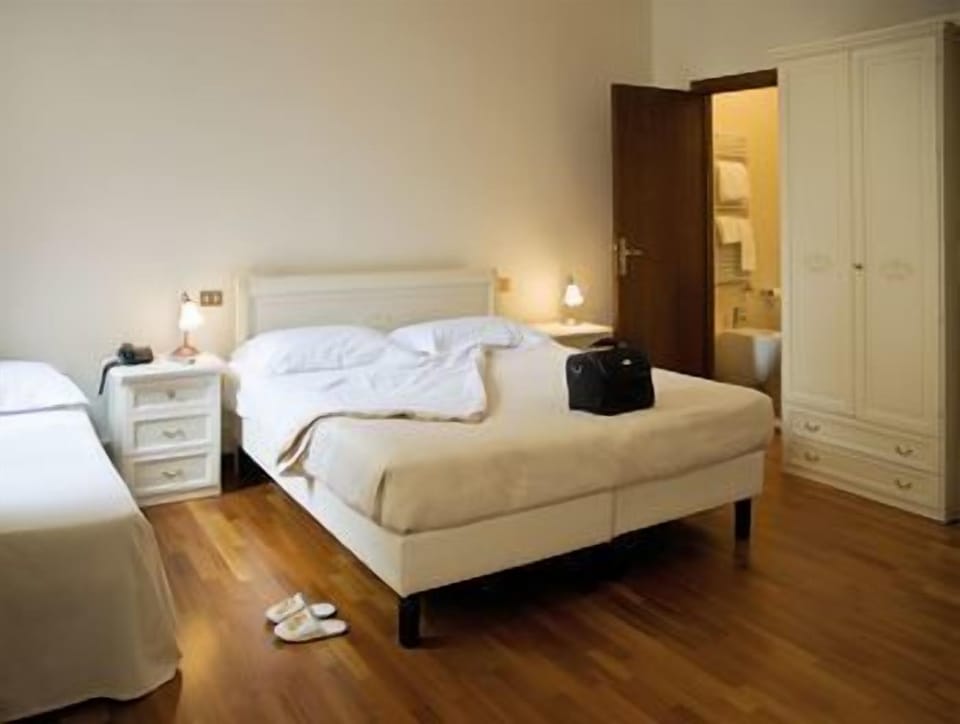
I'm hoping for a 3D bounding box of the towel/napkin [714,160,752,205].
[{"bbox_3d":[2.152,-1.554,6.128,0.388,0.299,0.155,-10,17,-31],"label":"towel/napkin"}]

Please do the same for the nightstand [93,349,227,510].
[{"bbox_3d":[-1.804,0.360,4.355,0.857,1.119,0.725,-3,3,-30],"label":"nightstand"}]

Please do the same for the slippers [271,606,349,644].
[{"bbox_3d":[-0.691,1.044,2.867,0.246,0.095,0.123,1,9,-17],"label":"slippers"}]

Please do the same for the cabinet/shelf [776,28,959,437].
[{"bbox_3d":[2.130,-0.714,3.968,0.288,2.081,1.114,-10,18,-33],"label":"cabinet/shelf"}]

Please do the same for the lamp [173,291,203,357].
[{"bbox_3d":[-1.756,-0.228,4.287,0.190,0.344,0.351,-7,16,-21],"label":"lamp"}]

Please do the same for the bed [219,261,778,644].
[{"bbox_3d":[-0.090,0.211,4.323,2.242,1.409,2.915,-5,10,-28],"label":"bed"}]

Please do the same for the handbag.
[{"bbox_3d":[0.622,0.078,3.430,0.390,0.371,0.328,-2,-1,-37],"label":"handbag"}]

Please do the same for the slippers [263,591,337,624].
[{"bbox_3d":[-0.755,1.008,2.981,0.304,0.115,0.117,3,10,-19],"label":"slippers"}]

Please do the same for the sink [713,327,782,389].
[{"bbox_3d":[2.305,-0.037,6.108,0.475,0.505,0.560,-2,5,-13],"label":"sink"}]

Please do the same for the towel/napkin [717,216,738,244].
[{"bbox_3d":[2.142,-1.128,6.152,0.152,0.237,0.260,13,20,42],"label":"towel/napkin"}]
